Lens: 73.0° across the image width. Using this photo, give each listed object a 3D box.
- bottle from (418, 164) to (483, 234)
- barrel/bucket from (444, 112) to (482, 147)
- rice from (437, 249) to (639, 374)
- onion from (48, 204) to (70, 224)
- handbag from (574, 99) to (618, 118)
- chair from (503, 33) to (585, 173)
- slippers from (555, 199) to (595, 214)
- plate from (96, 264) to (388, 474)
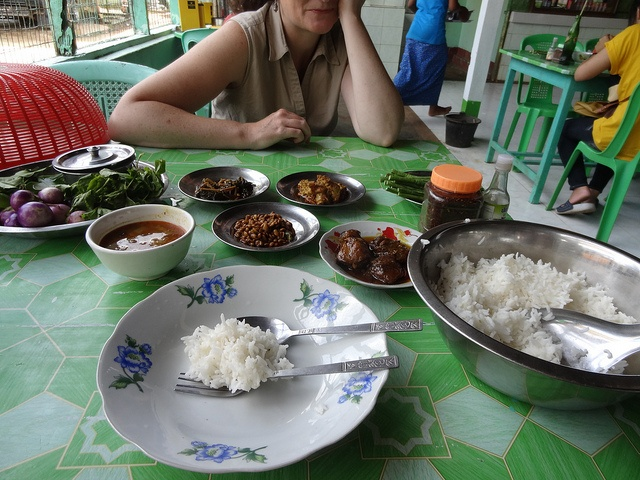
[{"bbox_3d":[0.298,-0.110,1.118,0.161,0.207,0.158,0,37,0],"label":"bottle"},{"bbox_3d":[1.351,-1.068,4.198,0.326,0.272,0.333,0,33,0],"label":"barrel/bucket"},{"bbox_3d":[0.429,0.098,0.869,0.252,0.094,0.254,13,14,-43],"label":"rice"},{"bbox_3d":[-0.633,-0.062,1.045,0.029,0.030,0.035,-23,76,-21],"label":"onion"},{"bbox_3d":[1.980,-0.948,3.112,0.200,0.081,0.198,-12,25,-21],"label":"handbag"},{"bbox_3d":[2.095,-1.280,3.987,0.561,0.970,0.545,-10,28,-36],"label":"chair"},{"bbox_3d":[1.796,-0.229,3.034,0.111,0.086,0.211,-5,5,-30],"label":"slippers"},{"bbox_3d":[-0.130,0.206,0.775,0.487,0.100,0.402,-5,34,-10],"label":"plate"}]
